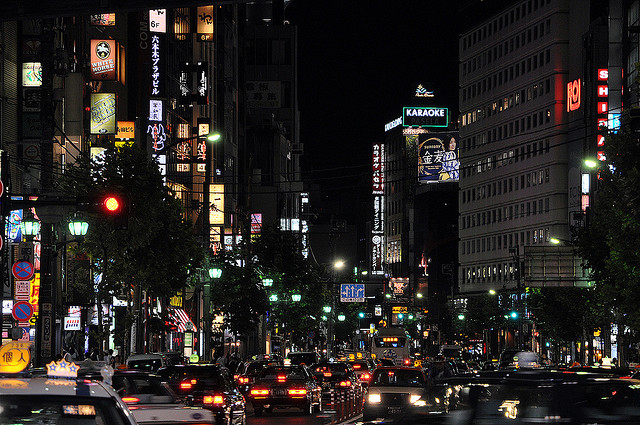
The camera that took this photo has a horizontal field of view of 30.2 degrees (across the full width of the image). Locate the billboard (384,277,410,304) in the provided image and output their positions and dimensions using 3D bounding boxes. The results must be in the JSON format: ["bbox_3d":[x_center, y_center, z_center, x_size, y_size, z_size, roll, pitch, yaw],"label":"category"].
[{"bbox_3d":[12.863,13.455,204.221,4.612,4.160,3.237,1,-3,-25],"label":"billboard"}]

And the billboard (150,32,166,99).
[{"bbox_3d":[-11.608,-10.547,85.773,1.340,5.045,0.979,2,-12,-1],"label":"billboard"}]

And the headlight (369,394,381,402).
[{"bbox_3d":[2.054,6.913,44.121,0.315,0.224,0.312,-1,-3,10],"label":"headlight"}]

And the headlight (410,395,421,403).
[{"bbox_3d":[3.486,6.851,43.577,0.360,0.310,0.492,1,-13,4],"label":"headlight"}]

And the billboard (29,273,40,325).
[{"bbox_3d":[-13.820,4.139,57.934,0.359,2.691,2.184,5,-13,-15],"label":"billboard"}]

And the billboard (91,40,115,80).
[{"bbox_3d":[-14.007,-9.925,77.567,1.562,2.358,1.231,1,-13,1],"label":"billboard"}]

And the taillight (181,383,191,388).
[{"bbox_3d":[-4.509,5.910,40.488,0.166,0.180,0.564,10,-16,-33],"label":"taillight"}]

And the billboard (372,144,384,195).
[{"bbox_3d":[10.445,-7.977,211.597,1.955,9.819,1.122,7,26,19],"label":"billboard"}]

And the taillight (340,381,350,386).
[{"bbox_3d":[1.265,8.461,58.593,0.380,0.254,0.214,-2,8,3],"label":"taillight"}]

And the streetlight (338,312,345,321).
[{"bbox_3d":[3.030,14.406,162.136,0.980,0.881,0.910,3,-4,0],"label":"streetlight"}]

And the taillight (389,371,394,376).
[{"bbox_3d":[2.709,6.137,45.085,0.150,0.035,0.141,-2,-1,12],"label":"taillight"}]

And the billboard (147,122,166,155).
[{"bbox_3d":[-11.627,-5.445,84.604,1.873,2.790,1.867,0,7,-2],"label":"billboard"}]

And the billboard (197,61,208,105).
[{"bbox_3d":[-9.602,-10.632,98.342,0.888,3.958,1.846,2,-13,-3],"label":"billboard"}]

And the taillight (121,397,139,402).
[{"bbox_3d":[-5.327,5.341,33.782,0.460,0.153,0.357,2,-13,-4],"label":"taillight"}]

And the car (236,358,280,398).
[{"bbox_3d":[-2.774,7.692,54.665,2.008,1.955,3.953,0,-12,-2],"label":"car"}]

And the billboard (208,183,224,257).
[{"bbox_3d":[-8.503,0.649,100.307,1.383,6.383,0.819,-3,-17,5],"label":"billboard"}]

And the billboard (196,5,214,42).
[{"bbox_3d":[-10.153,-17.232,107.046,1.538,3.765,2.853,3,-13,-6],"label":"billboard"}]

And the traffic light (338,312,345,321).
[{"bbox_3d":[3.012,14.301,162.127,0.931,0.852,0.852,1,-11,-2],"label":"traffic light"}]

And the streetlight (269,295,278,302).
[{"bbox_3d":[-3.634,6.883,95.086,0.510,0.379,0.723,-1,0,-2],"label":"streetlight"}]

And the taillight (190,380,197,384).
[{"bbox_3d":[-4.240,5.780,40.397,0.117,0.145,0.294,13,-17,-40],"label":"taillight"}]

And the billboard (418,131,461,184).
[{"bbox_3d":[21.830,-10.854,225.287,9.662,10.286,1.117,-4,6,-27],"label":"billboard"}]

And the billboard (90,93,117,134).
[{"bbox_3d":[-13.822,-6.332,76.654,2.533,1.769,0.261,-9,2,-10],"label":"billboard"}]

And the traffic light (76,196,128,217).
[{"bbox_3d":[-8.288,-0.291,46.156,1.800,0.782,0.537,4,-13,-12],"label":"traffic light"}]

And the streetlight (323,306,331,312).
[{"bbox_3d":[0.806,9.949,121.617,0.592,0.439,0.627,0,0,-36],"label":"streetlight"}]

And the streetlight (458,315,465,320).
[{"bbox_3d":[17.391,13.046,147.010,0.708,0.501,0.663,4,-6,-42],"label":"streetlight"}]
